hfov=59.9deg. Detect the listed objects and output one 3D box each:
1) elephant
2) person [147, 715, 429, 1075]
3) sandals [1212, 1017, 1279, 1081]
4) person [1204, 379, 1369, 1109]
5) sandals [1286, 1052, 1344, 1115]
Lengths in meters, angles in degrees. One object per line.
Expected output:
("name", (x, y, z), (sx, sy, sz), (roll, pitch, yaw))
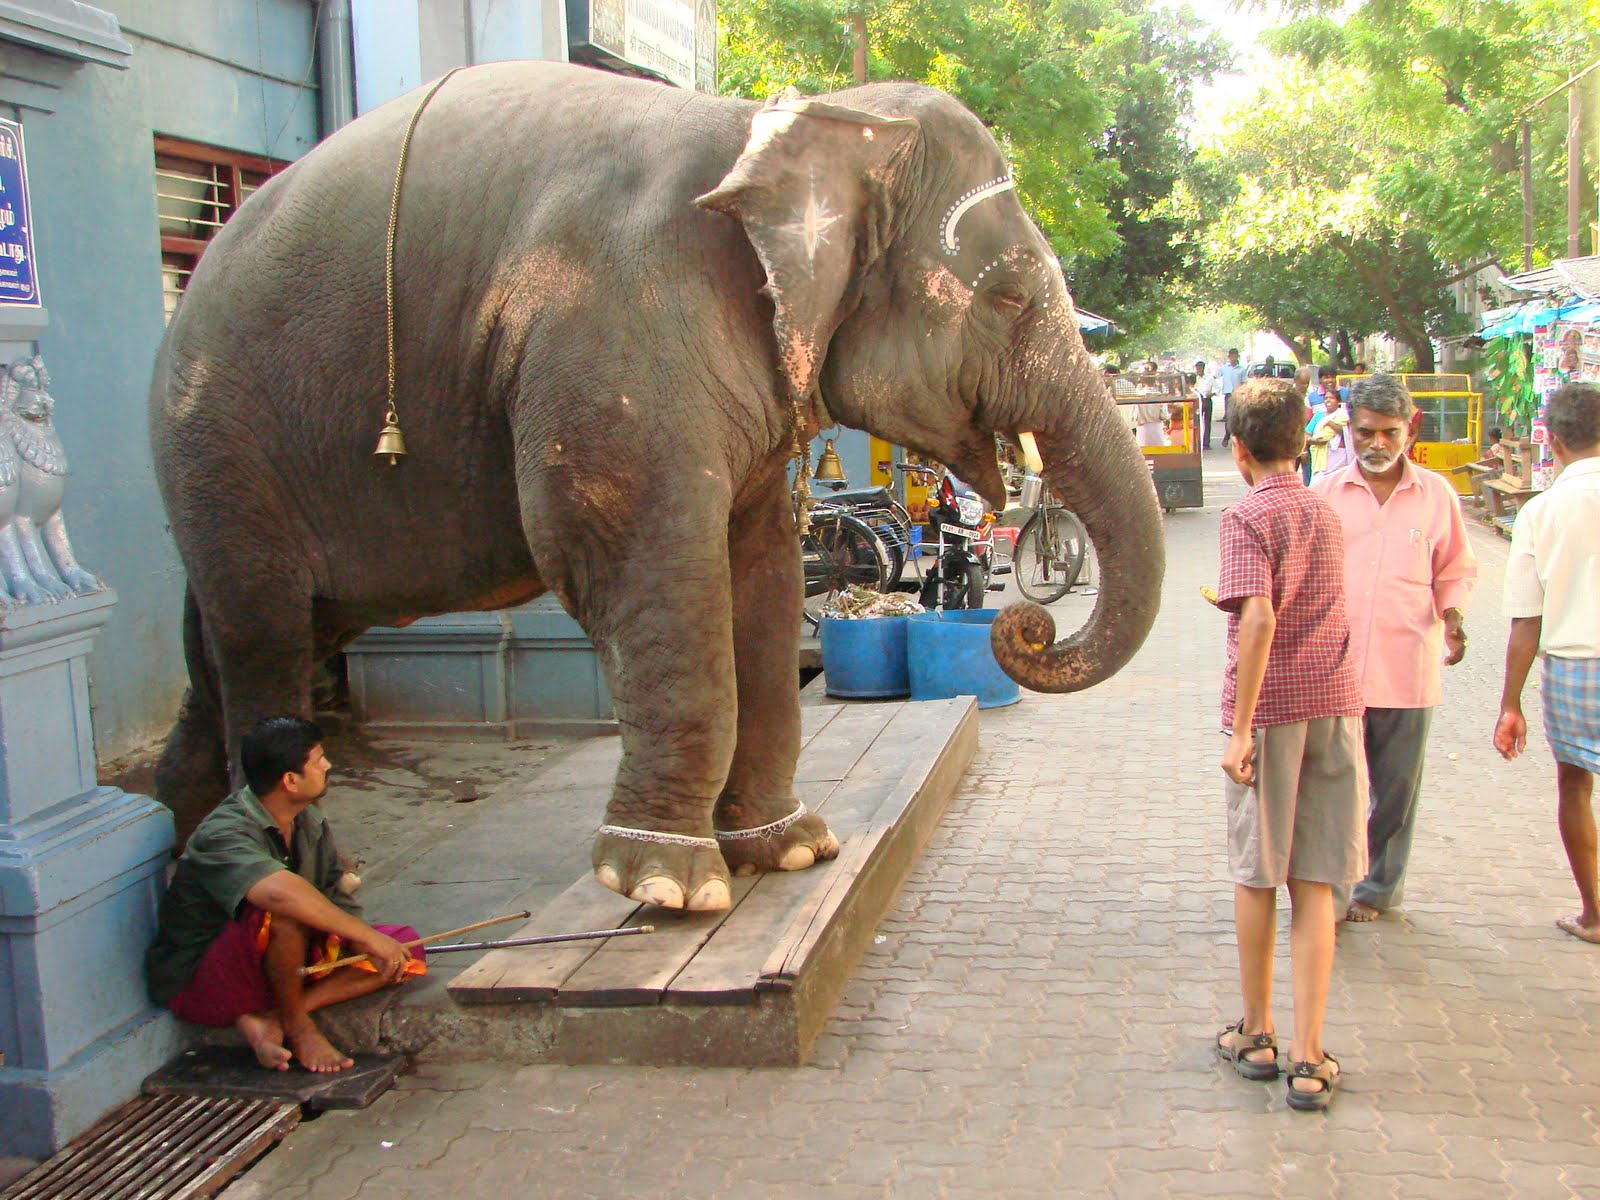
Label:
("elephant", (-0.554, -0.655, 5.847), (4.218, 3.069, 2.083), (0, 5, 6))
("person", (-1.646, 0.868, 4.622), (0.992, 1.089, 1.029), (1, 5, 8))
("sandals", (1.351, 1.327, 4.131), (0.099, 0.085, 0.206), (1, 6, 4))
("person", (1.446, 0.372, 4.067), (0.447, 1.995, 0.704), (4, 11, 20))
("sandals", (1.460, 1.349, 3.917), (0.087, 0.080, 0.200), (1, 7, 19))
